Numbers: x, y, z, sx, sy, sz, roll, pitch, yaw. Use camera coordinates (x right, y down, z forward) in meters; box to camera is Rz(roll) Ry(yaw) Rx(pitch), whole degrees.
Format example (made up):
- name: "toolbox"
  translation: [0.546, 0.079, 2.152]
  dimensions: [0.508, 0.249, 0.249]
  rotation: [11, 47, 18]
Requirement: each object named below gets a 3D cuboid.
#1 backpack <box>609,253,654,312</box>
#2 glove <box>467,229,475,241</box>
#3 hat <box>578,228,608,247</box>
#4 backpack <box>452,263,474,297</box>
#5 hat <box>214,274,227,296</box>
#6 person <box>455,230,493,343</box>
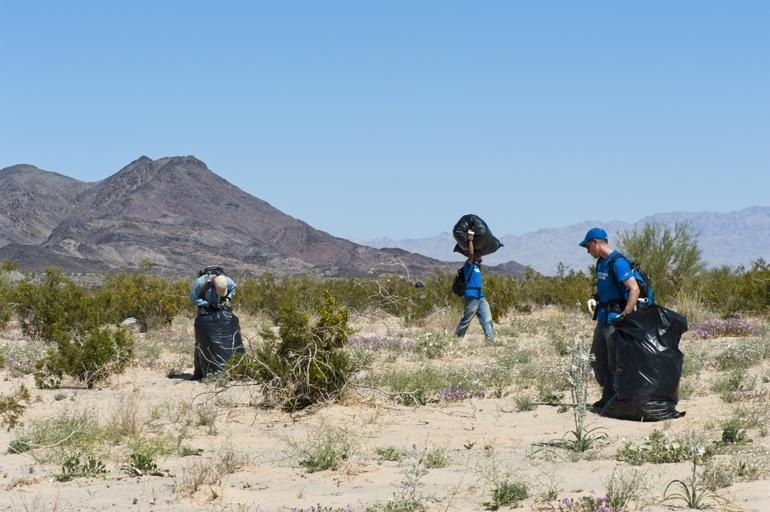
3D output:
- name: "backpack"
  translation: [4.522, 0.434, 17.557]
  dimensions: [0.765, 1.123, 0.384]
  rotation: [-3, -6, 12]
- name: "glove"
  translation: [1.980, -0.487, 21.744]
  dimensions: [0.185, 0.130, 0.351]
  rotation: [0, -10, 1]
- name: "hat"
  translation: [3.905, -0.347, 17.864]
  dimensions: [0.462, 0.294, 0.336]
  rotation: [-2, 2, 19]
- name: "backpack"
  translation: [1.828, 0.553, 22.035]
  dimensions: [0.469, 0.940, 0.638]
  rotation: [3, -6, 5]
- name: "hat"
  translation: [-3.418, 0.606, 19.884]
  dimensions: [0.265, 0.428, 0.254]
  rotation: [-1, -6, -13]
- name: "person"
  translation: [2.037, 0.683, 21.939]
  dimensions: [0.779, 2.574, 0.817]
  rotation: [-3, -6, 8]
